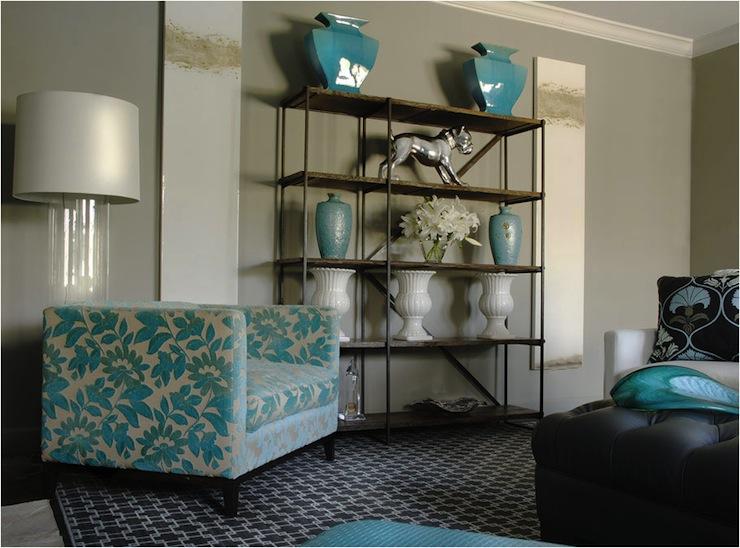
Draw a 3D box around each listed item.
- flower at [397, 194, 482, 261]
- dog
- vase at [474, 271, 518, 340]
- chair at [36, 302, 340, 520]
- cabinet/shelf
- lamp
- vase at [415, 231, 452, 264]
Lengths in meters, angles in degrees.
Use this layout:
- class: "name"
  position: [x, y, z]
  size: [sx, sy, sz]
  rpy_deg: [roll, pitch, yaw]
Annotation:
- class: "flower"
  position: [0.426, -0.282, 4.121]
  size: [0.458, 0.360, 0.466]
  rpy_deg: [0, -3, 32]
- class: "dog"
  position: [0.364, -0.753, 4.082]
  size: [0.665, 0.366, 0.182]
  rpy_deg: [-2, 5, -30]
- class: "vase"
  position: [0.816, 0.206, 4.147]
  size: [0.367, 0.497, 0.366]
  rpy_deg: [1, -5, -4]
- class: "chair"
  position: [-0.809, 0.537, 2.979]
  size: [1.049, 0.740, 1.049]
  rpy_deg: [-2, -4, 20]
- class: "cabinet/shelf"
  position: [0.239, -0.598, 4.029]
  size: [1.464, 1.632, 0.406]
  rpy_deg: [-5, -36, 2]
- class: "lamp"
  position: [-1.465, -0.387, 3.219]
  size: [0.581, 1.047, 0.288]
  rpy_deg: [-1, 3, -22]
- class: "vase"
  position: [0.401, -0.152, 4.114]
  size: [0.178, 0.177, 0.191]
  rpy_deg: [7, -9, -28]
